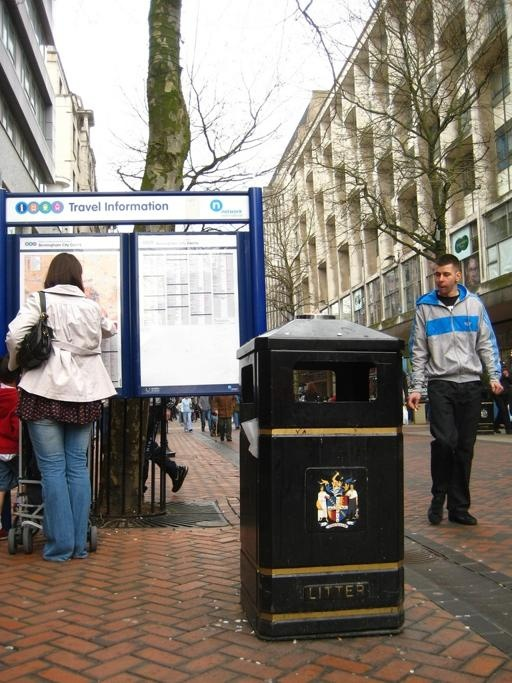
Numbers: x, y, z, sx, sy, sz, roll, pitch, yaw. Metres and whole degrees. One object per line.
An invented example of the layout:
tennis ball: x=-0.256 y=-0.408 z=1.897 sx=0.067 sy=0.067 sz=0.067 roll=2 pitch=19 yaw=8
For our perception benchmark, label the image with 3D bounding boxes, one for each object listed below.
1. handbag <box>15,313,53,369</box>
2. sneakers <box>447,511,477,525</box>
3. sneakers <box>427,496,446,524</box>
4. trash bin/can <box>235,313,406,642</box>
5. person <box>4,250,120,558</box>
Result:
handbag: x=-1.371 y=0.000 z=3.928 sx=0.132 sy=0.236 sz=0.241 roll=25 pitch=-39 yaw=-13
sneakers: x=1.614 y=1.394 z=5.050 sx=0.128 sy=0.093 sz=0.343 roll=1 pitch=-6 yaw=-17
sneakers: x=1.429 y=1.340 z=5.091 sx=0.093 sy=0.277 sz=0.108 roll=1 pitch=-15 yaw=17
trash bin/can: x=0.290 y=0.525 z=2.729 sx=0.657 sy=1.305 sz=0.507 roll=1 pitch=-6 yaw=-10
person: x=-1.276 y=0.372 z=4.142 sx=0.386 sy=1.984 sz=0.787 roll=-5 pitch=-8 yaw=38
